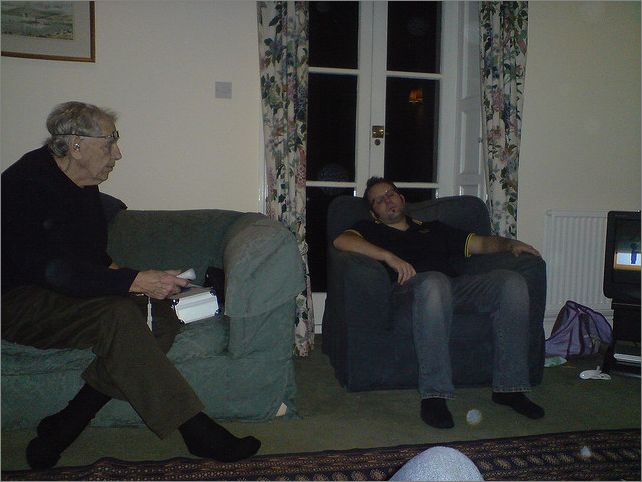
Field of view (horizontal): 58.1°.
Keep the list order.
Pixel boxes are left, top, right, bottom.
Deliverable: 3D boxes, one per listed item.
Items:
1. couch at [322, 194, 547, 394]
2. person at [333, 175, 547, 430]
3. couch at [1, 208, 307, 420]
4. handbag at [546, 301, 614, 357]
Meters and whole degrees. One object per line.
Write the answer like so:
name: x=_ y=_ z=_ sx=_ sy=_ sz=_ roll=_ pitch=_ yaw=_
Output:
couch: x=0.568 y=0.282 z=3.573 sx=1.174 sy=1.088 sz=1.164 roll=-1 pitch=12 yaw=-4
person: x=0.703 y=0.271 z=3.115 sx=0.850 sy=1.067 sz=1.102 roll=-8 pitch=16 yaw=-33
couch: x=-0.726 y=0.412 z=3.111 sx=1.517 sy=0.959 sz=0.963 roll=1 pitch=4 yaw=-7
handbag: x=1.647 y=0.590 z=3.812 sx=0.466 sy=0.316 sz=0.335 roll=8 pitch=-16 yaw=-36
